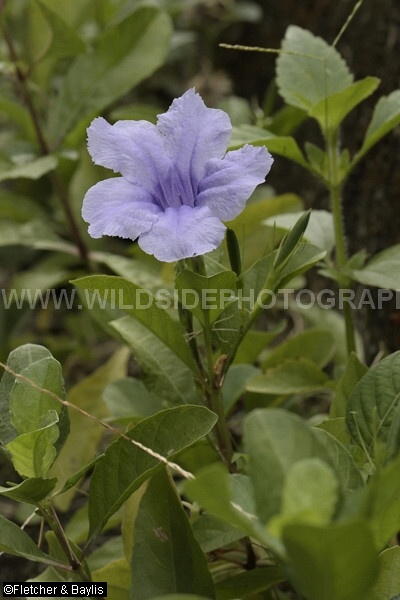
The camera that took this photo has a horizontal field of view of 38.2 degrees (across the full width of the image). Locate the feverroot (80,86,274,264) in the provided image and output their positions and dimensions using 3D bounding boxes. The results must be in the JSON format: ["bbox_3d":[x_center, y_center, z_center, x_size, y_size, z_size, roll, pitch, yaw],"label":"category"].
[{"bbox_3d":[-0.022,-0.085,0.416,0.133,0.074,0.136,25,53,19],"label":"feverroot"}]
